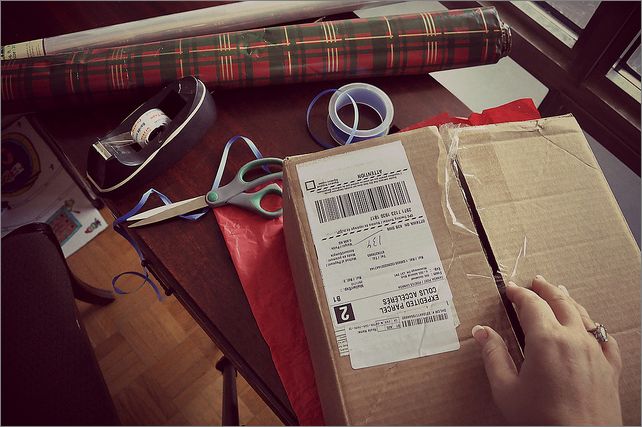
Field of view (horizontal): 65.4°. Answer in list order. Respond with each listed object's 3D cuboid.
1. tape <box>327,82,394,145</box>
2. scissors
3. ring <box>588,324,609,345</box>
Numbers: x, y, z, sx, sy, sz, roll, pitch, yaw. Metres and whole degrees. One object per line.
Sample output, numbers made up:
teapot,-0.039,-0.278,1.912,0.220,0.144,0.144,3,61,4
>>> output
tape,0.086,-0.231,1.117,0.145,0.055,0.145,-36,74,-15
scissors,-0.249,-0.041,1.074,0.335,0.073,0.118,-6,51,2
ring,0.456,0.194,0.810,0.025,0.033,0.018,46,78,-13
